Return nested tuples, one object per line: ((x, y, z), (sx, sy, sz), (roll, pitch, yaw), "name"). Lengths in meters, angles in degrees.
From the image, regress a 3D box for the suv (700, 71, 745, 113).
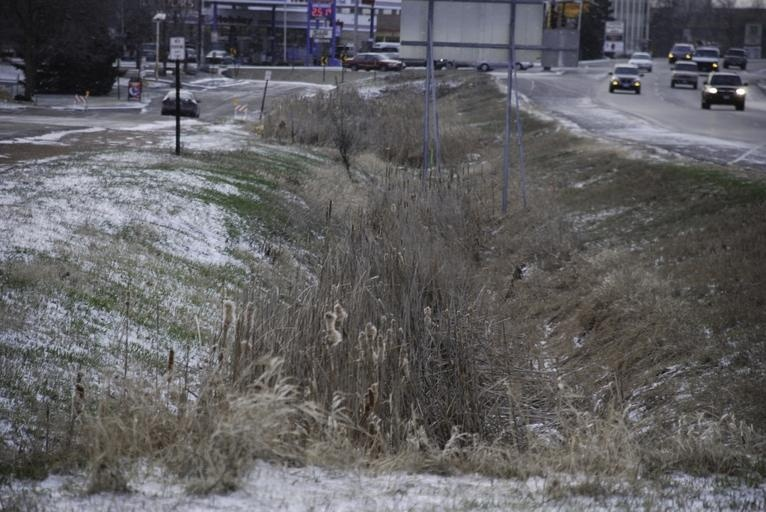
((15.162, -7.014, 46.689), (1.417, 2.366, 3.695), (3, -2, 17), "suv")

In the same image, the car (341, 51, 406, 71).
((-0.569, -13.350, 72.839), (3.875, 1.266, 1.844), (3, 19, 11), "car")

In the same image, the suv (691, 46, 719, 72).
((20.075, -12.143, 65.060), (1.340, 1.883, 3.194), (0, 12, 11), "suv")

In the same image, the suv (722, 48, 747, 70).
((24.159, -13.480, 72.094), (0.866, 1.309, 2.110), (2, 10, 17), "suv")
